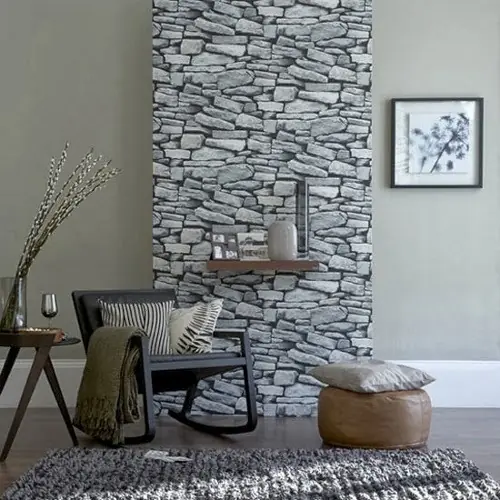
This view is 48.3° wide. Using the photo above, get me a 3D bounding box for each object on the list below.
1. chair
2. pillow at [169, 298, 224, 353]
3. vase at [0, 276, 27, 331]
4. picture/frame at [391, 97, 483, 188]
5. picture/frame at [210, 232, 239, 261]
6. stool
[{"bbox_3d":[-0.502,0.606,3.050,0.957,0.662,0.725,-4,-10,45],"label":"chair"},{"bbox_3d":[-0.324,0.438,3.198,0.323,0.247,0.084,1,-26,2],"label":"pillow"},{"bbox_3d":[-1.225,0.277,2.877,0.132,0.264,0.086,2,-5,-16],"label":"vase"},{"bbox_3d":[1.310,-0.751,3.884,0.794,0.598,0.044,-6,10,-23],"label":"picture/frame"},{"bbox_3d":[-0.159,-0.018,3.501,0.224,0.177,0.014,4,-31,-20],"label":"picture/frame"},{"bbox_3d":[0.650,0.827,2.882,0.424,0.188,0.372,3,-6,-17],"label":"stool"}]
